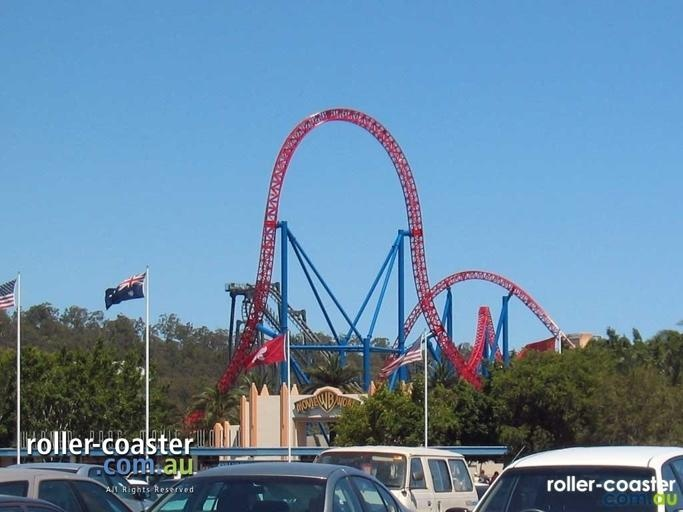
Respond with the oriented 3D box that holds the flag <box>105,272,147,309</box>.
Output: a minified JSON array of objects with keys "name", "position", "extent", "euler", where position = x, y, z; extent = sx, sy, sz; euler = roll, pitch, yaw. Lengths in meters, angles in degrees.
[{"name":"flag","position":[-9.152,1.574,54.897],"extent":[1.845,1.707,0.315],"euler":[-8,-10,23]}]
